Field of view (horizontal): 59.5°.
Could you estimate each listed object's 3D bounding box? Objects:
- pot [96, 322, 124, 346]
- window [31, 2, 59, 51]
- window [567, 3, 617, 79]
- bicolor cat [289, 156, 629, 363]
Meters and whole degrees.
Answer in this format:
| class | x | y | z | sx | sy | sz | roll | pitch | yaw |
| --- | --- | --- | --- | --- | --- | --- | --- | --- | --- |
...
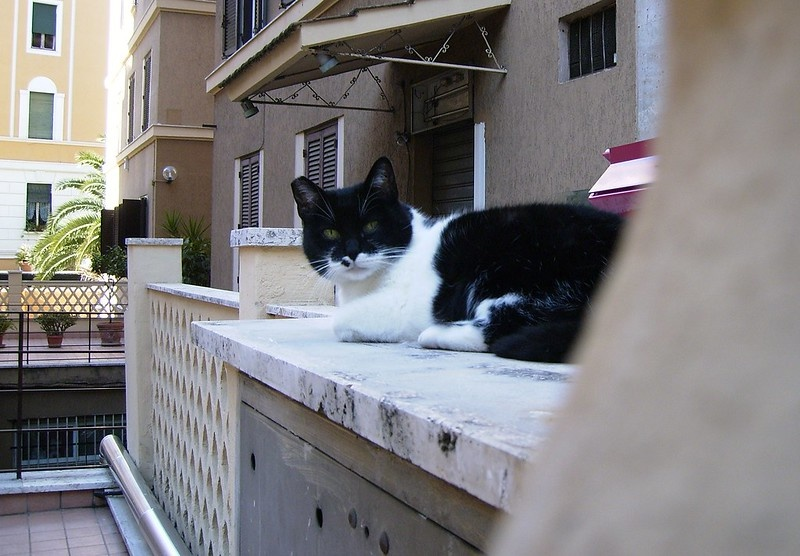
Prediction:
| class | x | y | z | sx | sy | sz | roll | pitch | yaw |
| --- | --- | --- | --- | --- | --- | --- | --- | --- | --- |
| pot | -4.993 | 0.971 | 12.135 | 0.428 | 0.362 | 0.449 | 0 | -3 | 0 |
| window | -10.769 | -7.680 | 21.236 | 0.694 | 1.311 | 0.441 | -2 | 7 | -34 |
| window | 1.342 | -1.656 | 4.846 | 0.052 | 0.600 | 0.554 | 0 | -3 | -27 |
| bicolor cat | 0.122 | -0.050 | 1.748 | 0.617 | 0.301 | 0.480 | -1 | -8 | 20 |
